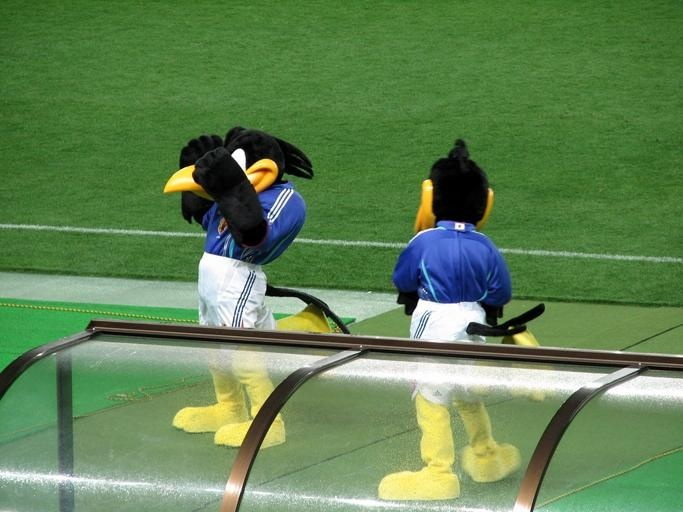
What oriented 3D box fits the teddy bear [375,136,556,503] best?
[{"bbox_3d":[0.679,0.279,7.682,0.838,1.882,1.823,-2,8,8],"label":"teddy bear"}]
